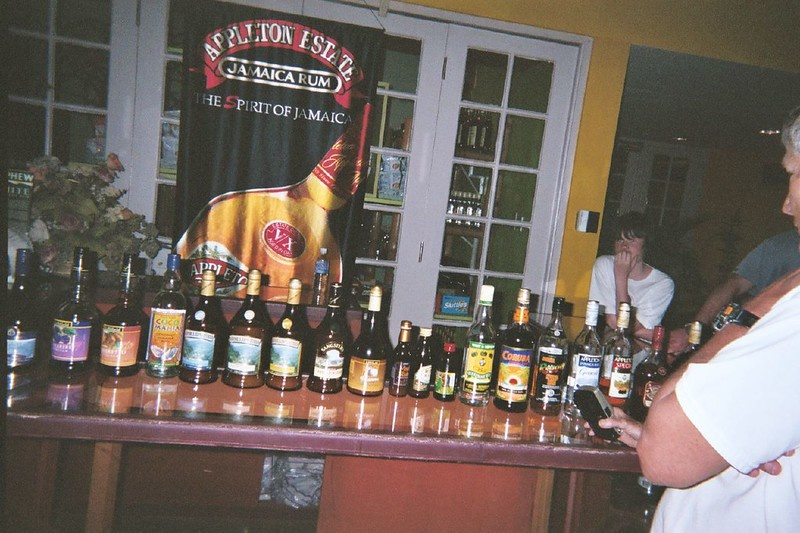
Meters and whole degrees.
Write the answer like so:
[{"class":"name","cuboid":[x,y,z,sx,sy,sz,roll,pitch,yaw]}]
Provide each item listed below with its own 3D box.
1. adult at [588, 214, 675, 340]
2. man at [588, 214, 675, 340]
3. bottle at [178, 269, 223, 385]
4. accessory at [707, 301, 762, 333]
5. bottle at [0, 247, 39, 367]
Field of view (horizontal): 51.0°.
[{"class":"adult","cuboid":[1.316,0.107,4.889,0.568,0.805,0.473,2,17,-2]},{"class":"man","cuboid":[1.333,0.107,4.896,0.532,0.796,0.465,8,21,17]},{"class":"bottle","cuboid":[-0.747,0.227,3.224,0.171,0.366,0.126,6,2,-34]},{"class":"accessory","cuboid":[1.185,0.178,2.975,0.111,0.080,0.048,21,-24,34]},{"class":"bottle","cuboid":[-1.419,0.156,3.151,0.104,0.346,0.114,7,2,0]}]
